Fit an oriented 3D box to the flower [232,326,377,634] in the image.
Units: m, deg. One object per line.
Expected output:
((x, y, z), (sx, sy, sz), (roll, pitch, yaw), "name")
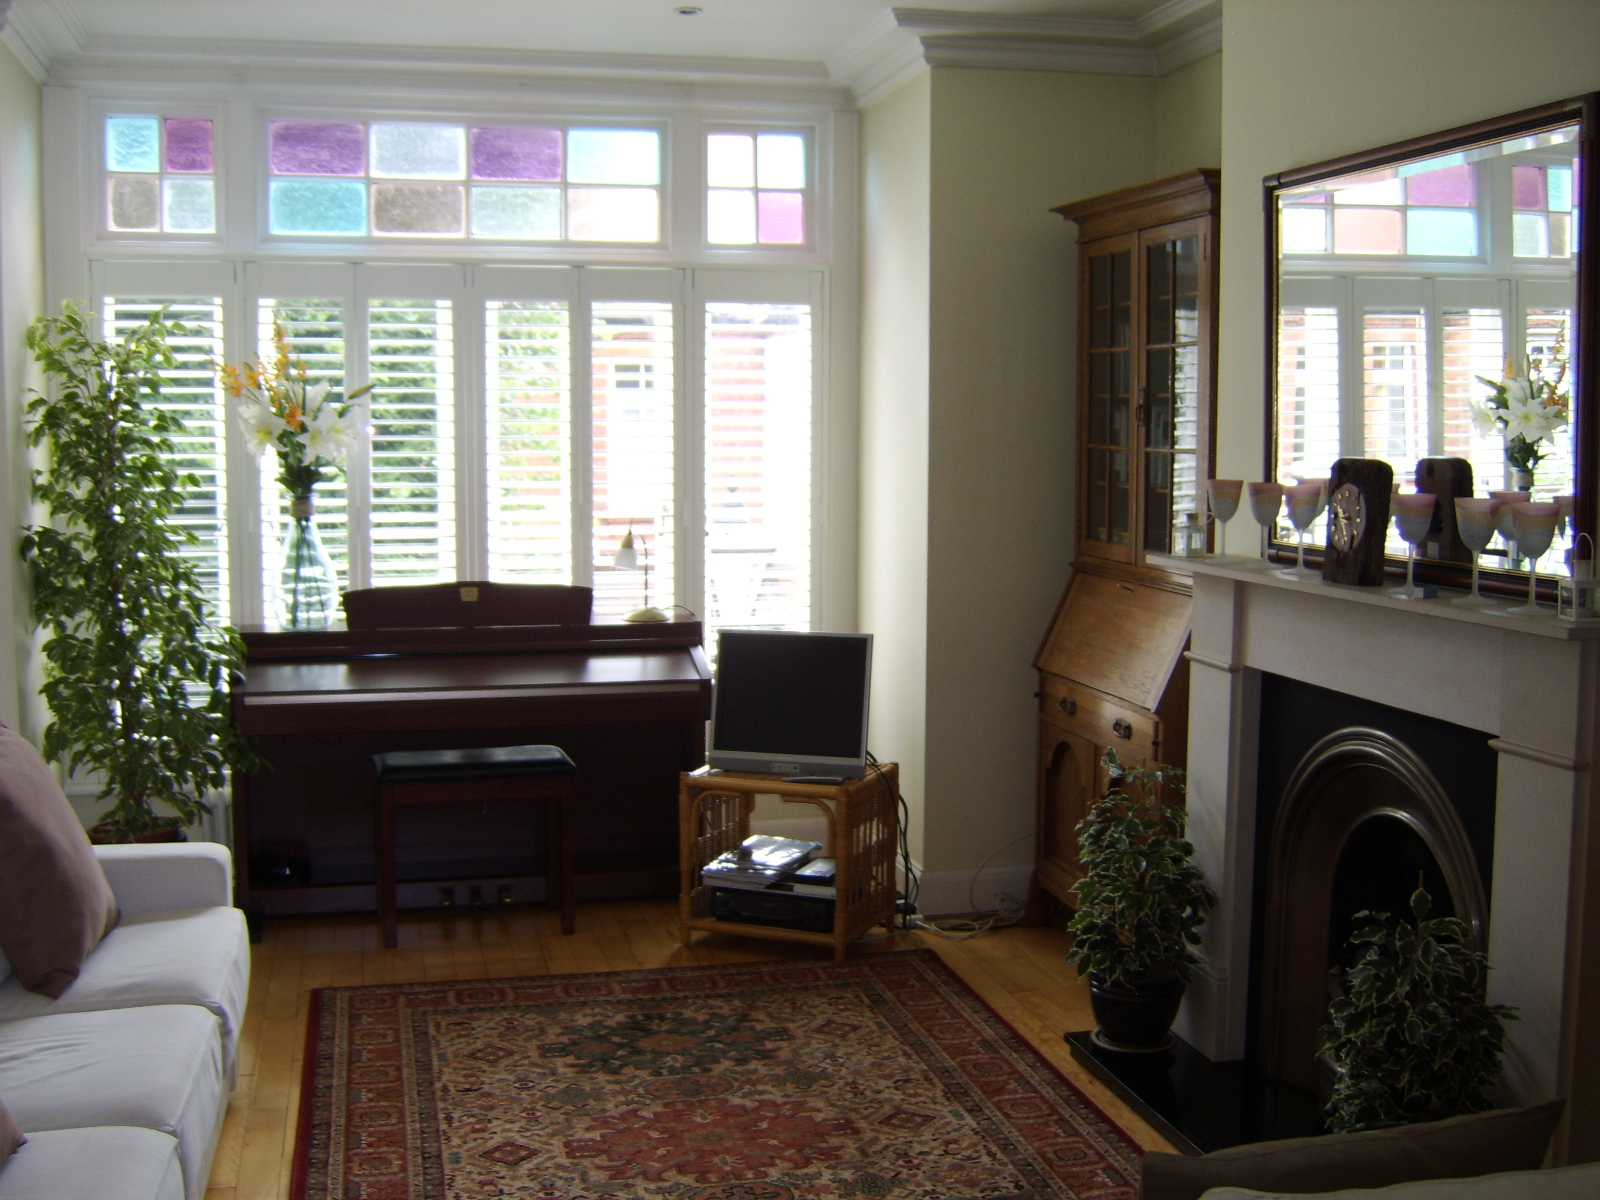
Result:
((-1.973, -0.468, 5.222), (0.440, 1.012, 0.418), (-15, -7, 12), "flower")

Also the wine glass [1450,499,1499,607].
((1.519, -0.125, 2.888), (0.083, 0.220, 0.236), (4, 8, 27), "wine glass")

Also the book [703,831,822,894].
((-0.154, 0.987, 4.786), (0.384, 0.124, 0.311), (2, 7, 13), "book")

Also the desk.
((-1.267, 0.582, 4.936), (1.695, 1.306, 0.613), (1, 10, -24), "desk")

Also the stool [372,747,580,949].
((-1.256, 0.910, 4.956), (0.718, 0.702, 0.556), (-1, 3, -16), "stool")

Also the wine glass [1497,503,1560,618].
((1.579, -0.111, 2.778), (0.120, 0.223, 0.218), (4, 8, 29), "wine glass")

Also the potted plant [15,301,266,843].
((-2.562, -0.067, 4.878), (0.702, 2.112, 1.178), (-4, 8, -31), "potted plant")

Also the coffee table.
((-0.039, 0.935, 4.880), (0.701, 0.594, 0.560), (1, 1, 28), "coffee table")

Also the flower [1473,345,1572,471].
((1.608, -0.377, 2.821), (0.138, 0.185, 0.171), (5, 20, -1), "flower")

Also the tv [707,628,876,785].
((-0.043, 0.407, 4.748), (0.518, 0.469, 0.055), (3, -15, 12), "tv")

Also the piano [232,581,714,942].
((-1.268, 0.571, 4.962), (1.702, 1.340, 0.571), (0, 10, -23), "piano")
